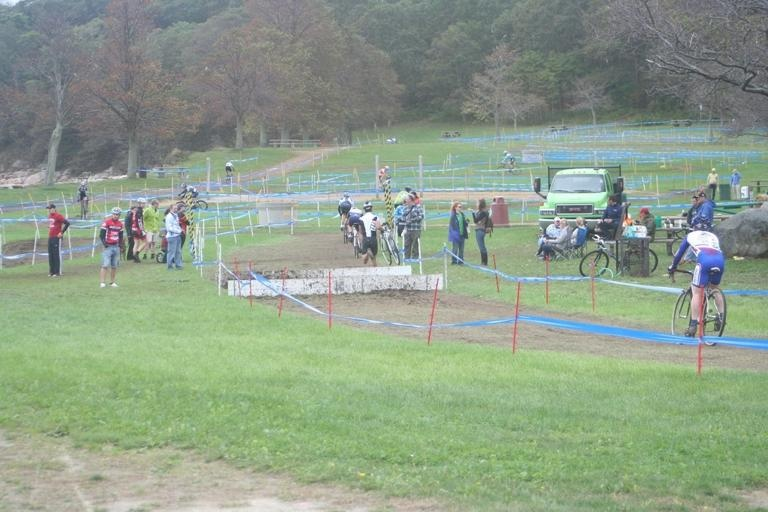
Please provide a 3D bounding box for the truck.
[{"bbox_3d":[14.708,-4.615,98.569,4.123,3.681,6.703,0,-1,16],"label":"truck"}]

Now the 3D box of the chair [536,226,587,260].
[{"bbox_3d":[12.512,-0.987,93.989,3.260,2.226,1.467,0,3,11],"label":"chair"}]

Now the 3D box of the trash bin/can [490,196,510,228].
[{"bbox_3d":[9.014,-3.510,105.253,1.409,2.284,1.401,-1,3,-5],"label":"trash bin/can"}]
